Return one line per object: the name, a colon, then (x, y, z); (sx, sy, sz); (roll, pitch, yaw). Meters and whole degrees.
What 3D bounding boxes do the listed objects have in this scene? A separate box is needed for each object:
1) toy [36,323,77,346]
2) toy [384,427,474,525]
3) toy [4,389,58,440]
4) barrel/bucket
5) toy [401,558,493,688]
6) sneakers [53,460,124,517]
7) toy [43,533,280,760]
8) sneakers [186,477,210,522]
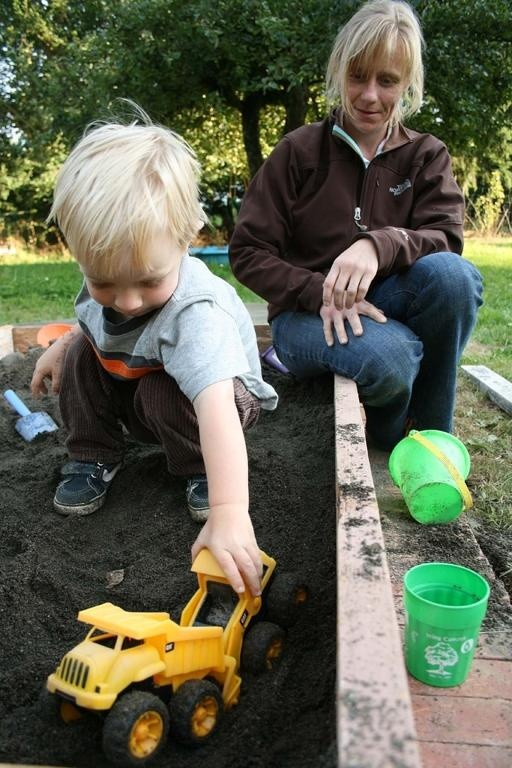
toy: (-0.790, -0.192, 2.683); (0.167, 0.112, 0.396); (8, 3, -17)
toy: (0.454, 0.242, 1.867); (0.245, 0.242, 0.192); (-16, 21, 23)
toy: (-0.823, 0.127, 2.482); (0.130, 0.069, 0.275); (-25, 36, -19)
barrel/bucket: (0.461, 0.268, 1.818); (0.212, 0.248, 0.192); (1, 18, 13)
toy: (0.334, 0.443, 1.322); (0.212, 0.214, 0.204); (1, 22, 1)
sneakers: (-0.479, 0.291, 1.943); (0.081, 0.083, 0.225); (13, 11, 5)
toy: (-0.171, 0.447, 1.239); (0.248, 0.237, 0.434); (6, 1, 41)
sneakers: (-0.157, 0.301, 1.787); (0.078, 0.043, 0.118); (0, 32, -4)
